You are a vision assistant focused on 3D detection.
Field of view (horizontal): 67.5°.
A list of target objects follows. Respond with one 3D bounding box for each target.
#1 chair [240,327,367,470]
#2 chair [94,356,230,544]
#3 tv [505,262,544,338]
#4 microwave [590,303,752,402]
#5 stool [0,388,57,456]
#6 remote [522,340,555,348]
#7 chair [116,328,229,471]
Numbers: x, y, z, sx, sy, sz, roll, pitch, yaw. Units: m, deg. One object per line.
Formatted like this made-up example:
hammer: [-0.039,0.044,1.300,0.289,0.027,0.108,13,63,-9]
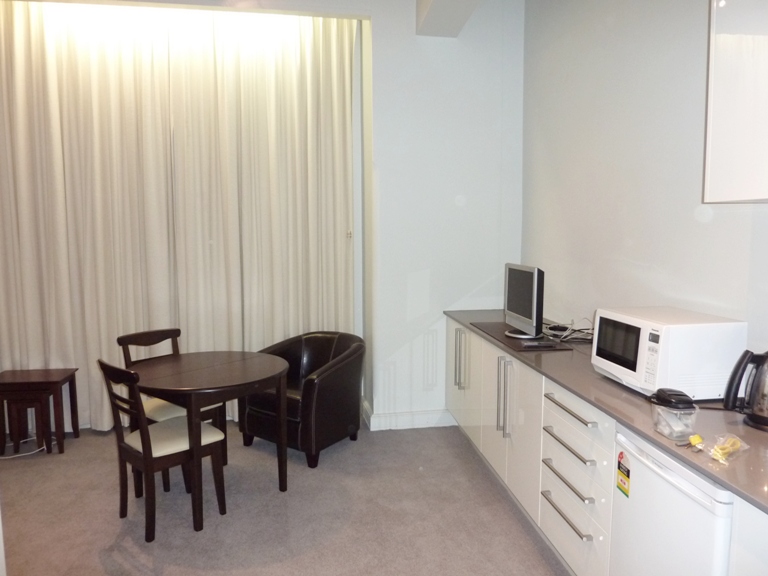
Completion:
chair: [-0.613,0.832,4.658,0.854,0.942,0.822,4,1,42]
chair: [-1.427,1.001,3.692,0.597,1.003,0.484,2,6,38]
tv: [0.964,0.097,3.937,0.124,0.380,0.460,-1,3,-8]
microwave: [1.439,0.297,2.939,0.395,0.399,0.579,1,3,-11]
stool: [-2.767,1.043,4.665,0.421,0.585,0.442,0,1,-22]
remote: [0.988,0.360,3.683,0.126,0.035,0.083,-1,4,1]
chair: [-1.782,0.784,4.450,0.582,0.873,0.621,4,-4,-17]
